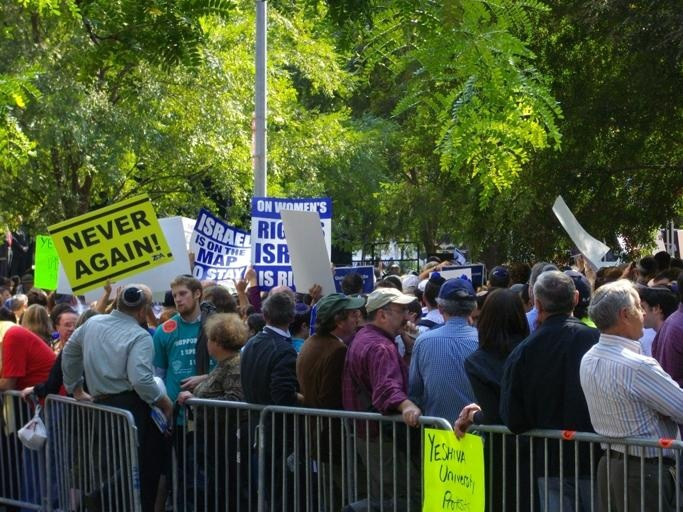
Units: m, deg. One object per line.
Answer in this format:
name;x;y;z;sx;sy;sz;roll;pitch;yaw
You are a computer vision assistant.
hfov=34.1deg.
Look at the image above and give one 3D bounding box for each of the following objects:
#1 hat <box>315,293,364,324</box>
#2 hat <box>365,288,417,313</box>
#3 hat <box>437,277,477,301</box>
hat;0.000;0.549;11.347;0.415;0.173;0.278;-20;6;-10
hat;0.475;0.415;10.997;0.381;0.163;0.254;-8;0;4
hat;1.156;0.324;10.869;0.342;0.219;0.268;-2;-4;4
